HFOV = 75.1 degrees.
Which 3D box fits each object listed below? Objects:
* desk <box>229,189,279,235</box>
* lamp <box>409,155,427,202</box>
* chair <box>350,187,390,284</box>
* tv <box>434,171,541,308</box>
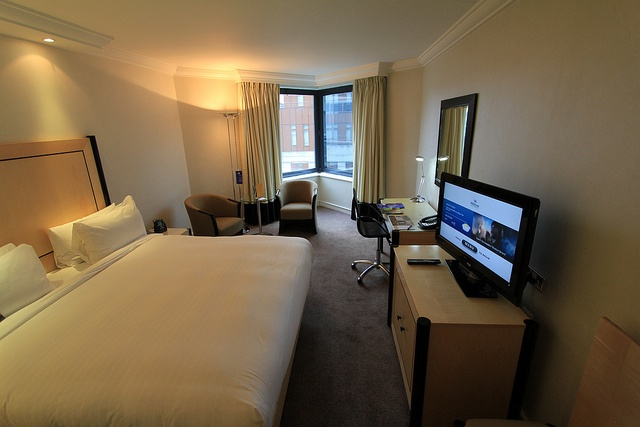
[{"bbox_3d":[-1.004,-0.080,6.730,0.623,0.730,0.645,12,30,22],"label":"desk"},{"bbox_3d":[1.337,-0.466,5.678,0.186,0.654,0.889,2,16,13],"label":"lamp"},{"bbox_3d":[0.785,0.280,5.300,0.704,1.005,0.825,-1,12,4],"label":"chair"},{"bbox_3d":[1.410,0.123,3.576,0.312,0.875,0.992,-10,24,-21],"label":"tv"}]
